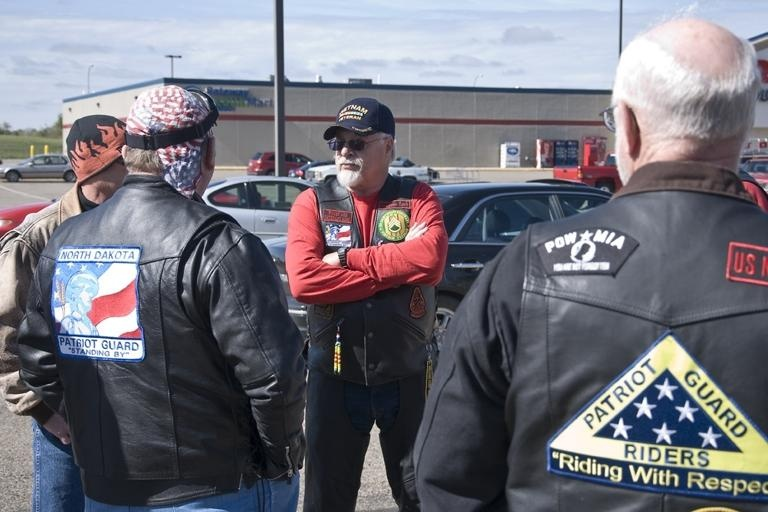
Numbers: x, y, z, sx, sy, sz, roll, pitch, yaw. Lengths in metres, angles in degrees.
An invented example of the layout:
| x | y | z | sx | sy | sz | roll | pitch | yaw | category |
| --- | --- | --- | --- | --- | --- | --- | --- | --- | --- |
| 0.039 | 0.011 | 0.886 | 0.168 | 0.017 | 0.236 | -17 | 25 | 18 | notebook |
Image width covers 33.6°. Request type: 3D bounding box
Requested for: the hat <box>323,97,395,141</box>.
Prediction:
| x | y | z | sx | sy | sz | roll | pitch | yaw | category |
| --- | --- | --- | --- | --- | --- | --- | --- | --- | --- |
| -0.112 | -0.676 | 6.145 | 0.272 | 0.184 | 0.398 | 4 | 3 | 39 | hat |

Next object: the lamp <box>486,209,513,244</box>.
| x | y | z | sx | sy | sz | roll | pitch | yaw | category |
| --- | --- | --- | --- | --- | --- | --- | --- | --- | --- |
| 0.789 | -0.222 | 8.828 | 0.176 | 0.217 | 0.238 | 2 | 1 | -8 | lamp |

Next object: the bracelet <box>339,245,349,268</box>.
| x | y | z | sx | sy | sz | roll | pitch | yaw | category |
| --- | --- | --- | --- | --- | --- | --- | --- | --- | --- |
| -0.194 | -0.002 | 5.865 | 0.052 | 0.075 | 0.082 | -1 | 10 | -3 | bracelet |

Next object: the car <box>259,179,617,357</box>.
| x | y | z | sx | sy | sz | roll | pitch | yaw | category |
| --- | --- | --- | --- | --- | --- | --- | --- | --- | --- |
| 0.561 | -0.028 | 8.928 | 2.452 | 0.763 | 1.066 | -10 | 7 | -27 | car |
